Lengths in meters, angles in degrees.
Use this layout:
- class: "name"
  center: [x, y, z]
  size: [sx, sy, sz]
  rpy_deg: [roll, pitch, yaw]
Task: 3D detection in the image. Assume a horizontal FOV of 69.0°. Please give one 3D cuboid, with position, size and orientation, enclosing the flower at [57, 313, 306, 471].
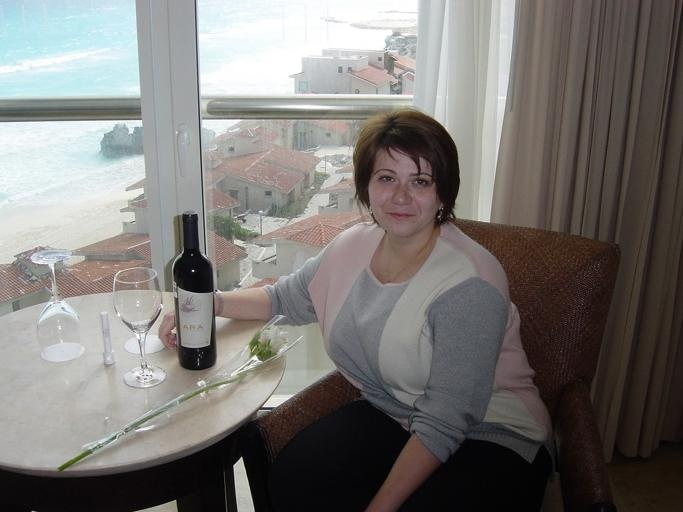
- class: "flower"
  center: [-0.356, 0.329, 1.288]
  size: [0.629, 0.142, 0.199]
  rpy_deg: [-27, 51, -22]
